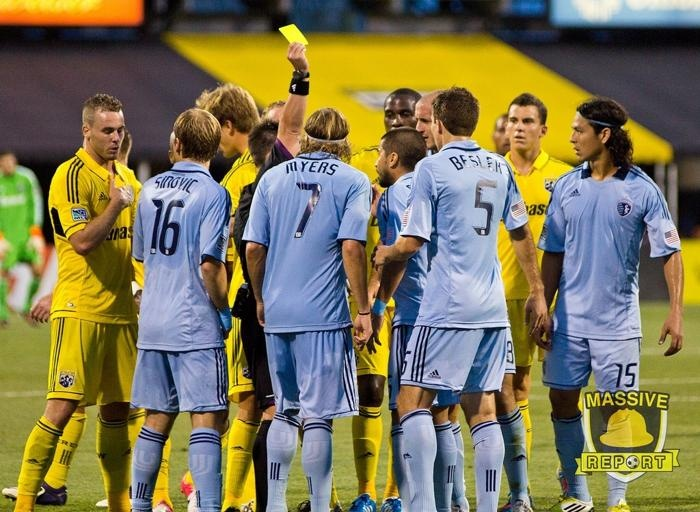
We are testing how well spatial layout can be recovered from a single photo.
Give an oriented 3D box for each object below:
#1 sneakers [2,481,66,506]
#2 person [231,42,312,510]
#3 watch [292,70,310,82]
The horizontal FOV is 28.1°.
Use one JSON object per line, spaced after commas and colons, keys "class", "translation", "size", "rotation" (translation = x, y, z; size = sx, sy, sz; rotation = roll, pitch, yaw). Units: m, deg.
{"class": "sneakers", "translation": [-3.044, 2.340, 13.658], "size": [0.659, 0.302, 0.251], "rotation": [9, -13, -10]}
{"class": "person", "translation": [-0.742, 0.203, 13.243], "size": [0.809, 4.358, 0.572], "rotation": [-2, -5, 21]}
{"class": "watch", "translation": [-0.474, -1.688, 13.185], "size": [0.113, 0.084, 0.088], "rotation": [1, 1, -2]}
